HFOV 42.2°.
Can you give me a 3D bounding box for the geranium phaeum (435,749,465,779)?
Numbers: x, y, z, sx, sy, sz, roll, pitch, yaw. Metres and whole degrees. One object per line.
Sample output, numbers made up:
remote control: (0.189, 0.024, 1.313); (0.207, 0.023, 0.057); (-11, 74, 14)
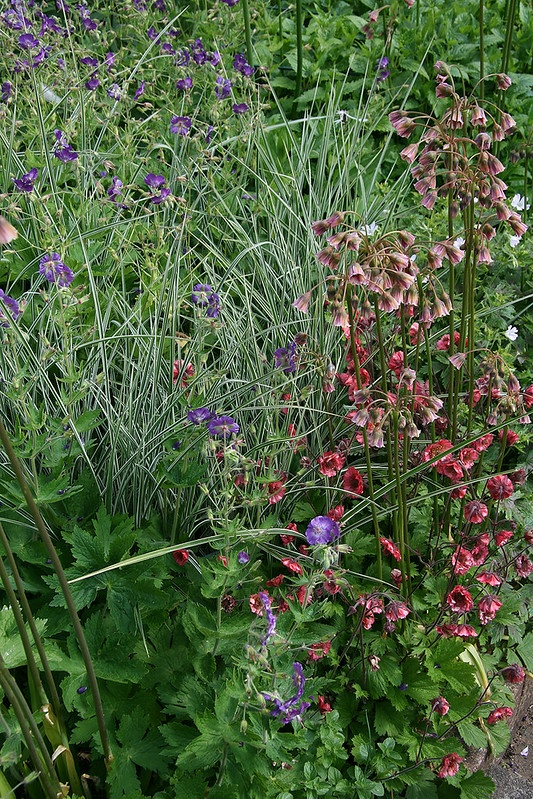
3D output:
geranium phaeum: (0.472, 0.937, 1.793); (0.072, 0.072, 0.036); (12, 23, -51)
